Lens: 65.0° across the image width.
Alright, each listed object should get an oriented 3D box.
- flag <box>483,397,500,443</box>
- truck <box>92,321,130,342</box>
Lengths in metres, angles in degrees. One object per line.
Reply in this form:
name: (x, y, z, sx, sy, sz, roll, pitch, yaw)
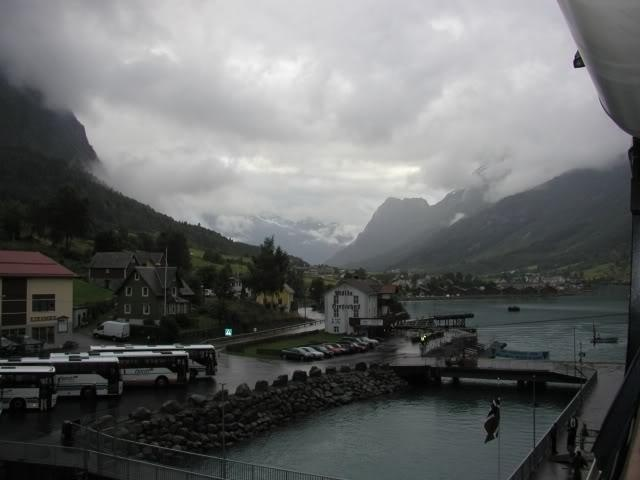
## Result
flag: (9.422, 9.647, 27.348, 0.678, 2.811, 2.541, -1, -2, 20)
truck: (-26.433, 11.285, 63.990, 4.858, 2.536, 2.157, 6, 0, 17)
